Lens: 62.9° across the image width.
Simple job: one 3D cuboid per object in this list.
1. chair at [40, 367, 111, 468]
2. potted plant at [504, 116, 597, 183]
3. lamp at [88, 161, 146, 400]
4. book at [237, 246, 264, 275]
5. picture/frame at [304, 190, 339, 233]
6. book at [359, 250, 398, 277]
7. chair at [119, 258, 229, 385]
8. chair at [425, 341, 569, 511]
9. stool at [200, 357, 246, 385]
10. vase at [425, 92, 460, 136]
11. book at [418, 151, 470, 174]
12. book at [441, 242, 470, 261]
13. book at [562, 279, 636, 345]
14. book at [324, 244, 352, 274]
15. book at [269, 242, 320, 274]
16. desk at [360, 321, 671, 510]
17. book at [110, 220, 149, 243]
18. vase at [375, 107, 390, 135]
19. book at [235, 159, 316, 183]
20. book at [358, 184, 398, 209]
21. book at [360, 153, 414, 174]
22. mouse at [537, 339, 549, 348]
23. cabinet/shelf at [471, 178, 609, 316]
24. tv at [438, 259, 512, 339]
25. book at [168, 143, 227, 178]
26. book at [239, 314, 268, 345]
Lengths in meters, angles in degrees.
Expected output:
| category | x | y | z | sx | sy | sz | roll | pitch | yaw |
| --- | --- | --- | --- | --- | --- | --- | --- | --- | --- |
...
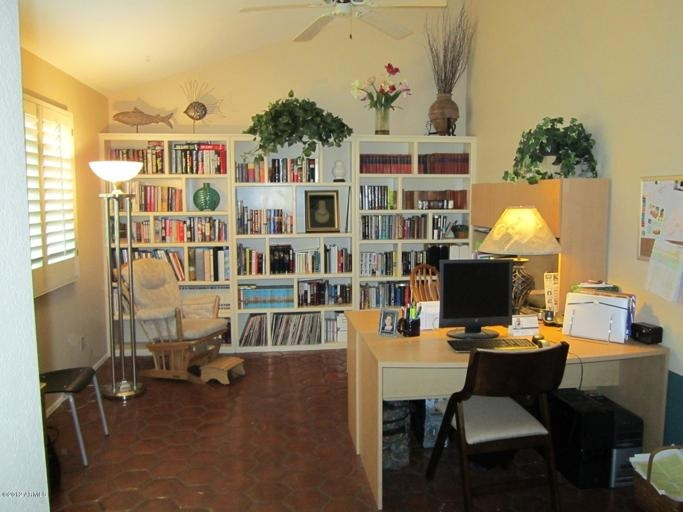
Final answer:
| category | x | y | z | sx | sy | sz | roll | pitch | yaw |
| --- | --- | --- | --- | --- | --- | --- | --- | --- | --- |
| chair | -1.855 | 1.073 | 3.832 | 0.380 | 0.604 | 0.577 | -2 | 11 | -12 |
| potted plant | 1.615 | -0.787 | 4.320 | 0.573 | 0.376 | 0.580 | 1 | 6 | 36 |
| lamp | -2.057 | 0.153 | 5.232 | 0.436 | 2.057 | 1.501 | -4 | 11 | -21 |
| book | -0.990 | 0.038 | 6.116 | 0.308 | 0.401 | 0.304 | 0 | 7 | -11 |
| picture/frame | -0.220 | -0.470 | 6.132 | 0.480 | 0.582 | 0.063 | 0 | -5 | -5 |
| book | 0.405 | 0.102 | 6.165 | 0.409 | 0.263 | 0.066 | -2 | 11 | -10 |
| chair | -1.583 | 0.589 | 5.449 | 0.980 | 1.061 | 0.905 | 8 | 8 | 43 |
| chair | 0.895 | 0.957 | 3.263 | 0.659 | 1.021 | 0.463 | -1 | 11 | -6 |
| stool | -1.098 | 1.060 | 5.232 | 0.274 | 0.185 | 0.414 | 4 | 11 | 22 |
| vase | 1.114 | -1.525 | 6.100 | 0.425 | 0.490 | 0.410 | -2 | 6 | -19 |
| book | 1.137 | -1.014 | 6.176 | 0.404 | 0.180 | 0.275 | 1 | 4 | -4 |
| book | 1.292 | -0.046 | 6.168 | 0.280 | 0.149 | 0.145 | 2 | 11 | 10 |
| book | 1.643 | 0.366 | 3.568 | 0.426 | 0.324 | 0.329 | 10 | -4 | 21 |
| book | -0.036 | 0.010 | 6.191 | 0.270 | 0.352 | 0.361 | 1 | 6 | -1 |
| book | -0.503 | 0.052 | 6.072 | 0.552 | 0.292 | 0.125 | 0 | 11 | -2 |
| desk | 0.952 | 0.644 | 3.631 | 1.480 | 0.754 | 1.151 | -1 | 4 | -7 |
| book | -2.191 | -0.247 | 5.861 | 0.418 | 0.230 | 0.292 | -1 | 3 | -3 |
| vase | 0.440 | -1.434 | 6.019 | 0.144 | 0.268 | 0.091 | -2 | 11 | -7 |
| book | -0.699 | -0.917 | 6.035 | 0.871 | 0.262 | 0.201 | -1 | 11 | -5 |
| book | 0.400 | -0.628 | 6.097 | 0.408 | 0.255 | 0.116 | -4 | 12 | -22 |
| book | 0.482 | -0.990 | 6.086 | 0.583 | 0.195 | 0.053 | -1 | 11 | -7 |
| mouse | 1.228 | 0.533 | 3.394 | 0.043 | 0.038 | 0.057 | 0 | 2 | -6 |
| cabinet/shelf | 1.613 | -0.074 | 4.722 | 0.450 | 1.073 | 1.189 | 14 | 7 | 16 |
| tv | 0.865 | 0.270 | 3.603 | 0.526 | 0.501 | 0.283 | 0 | -1 | -5 |
| book | -1.514 | -1.011 | 5.908 | 0.595 | 0.313 | 0.153 | 1 | 11 | 8 |
| book | -0.954 | 0.798 | 5.959 | 0.327 | 0.321 | 0.087 | 1 | -13 | 17 |
